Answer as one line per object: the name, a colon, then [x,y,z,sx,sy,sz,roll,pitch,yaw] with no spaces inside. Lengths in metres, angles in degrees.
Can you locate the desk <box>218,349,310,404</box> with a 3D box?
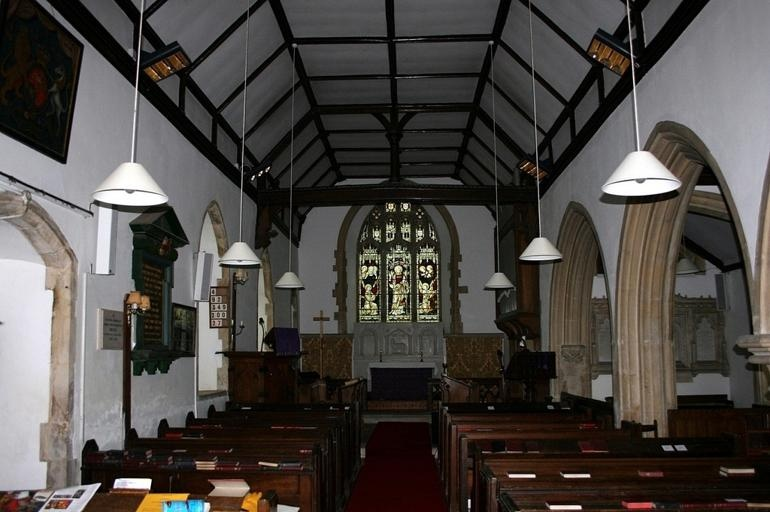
desk: [-1.968,1.920,10.714,1.094,1.193,0.866,0,-2,5]
